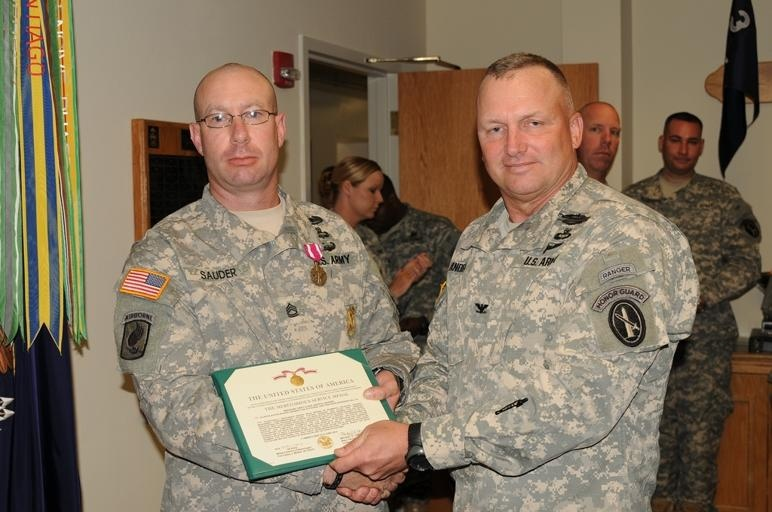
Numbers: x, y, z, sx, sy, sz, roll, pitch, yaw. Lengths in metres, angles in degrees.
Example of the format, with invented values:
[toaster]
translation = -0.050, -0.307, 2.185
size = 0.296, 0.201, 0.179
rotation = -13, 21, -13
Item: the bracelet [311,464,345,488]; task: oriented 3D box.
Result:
[bracelet]
translation = -0.202, 0.761, 2.564
size = 0.036, 0.072, 0.100
rotation = 22, -3, -32
